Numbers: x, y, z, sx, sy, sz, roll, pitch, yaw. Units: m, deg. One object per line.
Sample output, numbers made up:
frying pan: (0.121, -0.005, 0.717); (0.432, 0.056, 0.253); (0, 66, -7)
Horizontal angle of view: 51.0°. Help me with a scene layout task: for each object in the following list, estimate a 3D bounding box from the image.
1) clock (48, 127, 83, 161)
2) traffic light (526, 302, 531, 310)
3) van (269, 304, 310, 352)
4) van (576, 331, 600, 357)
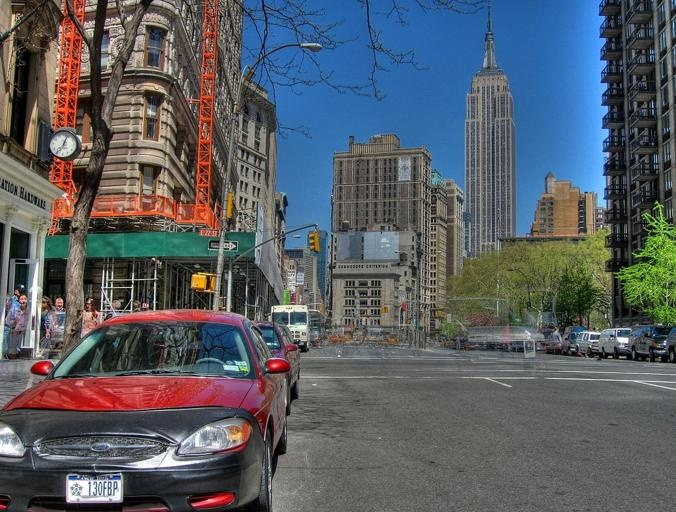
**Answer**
clock: (-6.532, -2.680, 17.095); (0.780, 0.780, 0.428); (10, 0, 16)
traffic light: (22.134, 5.685, 81.901); (0.498, 0.982, 7.298); (10, -1, 15)
van: (-3.361, 4.718, 49.315); (2.843, 3.044, 5.103); (-1, -9, 3)
van: (16.722, 5.752, 47.140); (0.978, 0.914, 1.790); (0, -10, 3)
